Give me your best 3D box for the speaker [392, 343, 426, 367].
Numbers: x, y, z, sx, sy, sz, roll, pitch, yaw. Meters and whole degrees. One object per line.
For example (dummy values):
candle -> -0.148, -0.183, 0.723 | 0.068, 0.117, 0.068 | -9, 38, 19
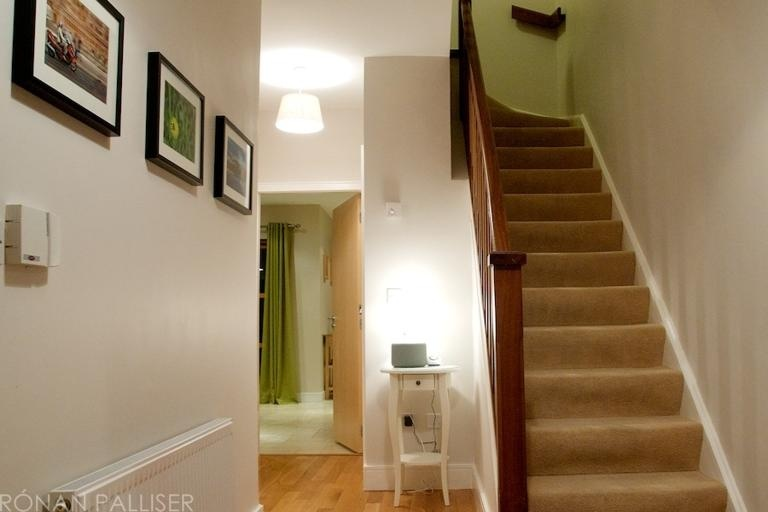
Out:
speaker -> 0.183, 0.684, 4.268 | 0.231, 0.164, 0.167 | 0, -6, 2

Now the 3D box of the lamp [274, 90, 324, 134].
lamp -> -0.739, -1.237, 5.064 | 0.355, 0.399, 0.365 | 0, -16, -5

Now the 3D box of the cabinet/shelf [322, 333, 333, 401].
cabinet/shelf -> -0.786, 1.546, 8.085 | 0.113, 0.847, 0.242 | 1, -12, -13
